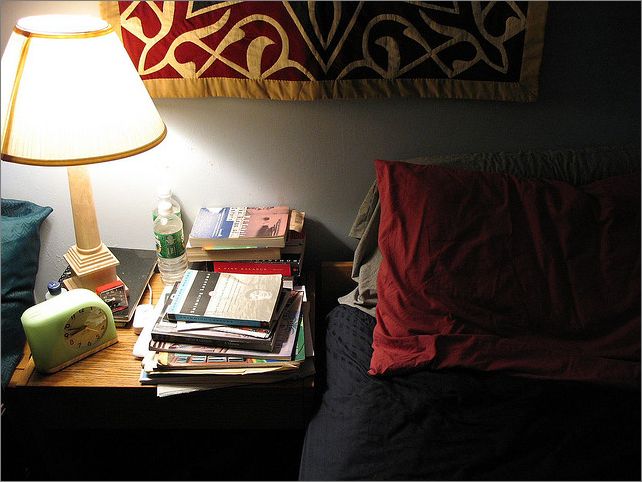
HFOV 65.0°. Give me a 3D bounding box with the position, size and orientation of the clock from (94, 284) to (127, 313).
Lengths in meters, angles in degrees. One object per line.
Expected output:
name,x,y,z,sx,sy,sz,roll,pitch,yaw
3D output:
clock,-0.630,0.168,1.497,0.069,0.067,0.033,-11,24,-38

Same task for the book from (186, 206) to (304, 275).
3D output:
book,-0.230,-0.002,1.673,0.250,0.100,0.276,2,29,0

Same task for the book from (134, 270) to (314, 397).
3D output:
book,-0.236,0.254,1.272,0.298,0.321,0.074,2,-30,-3

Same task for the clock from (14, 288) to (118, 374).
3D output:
clock,-0.703,0.257,1.395,0.074,0.157,0.176,17,31,36
